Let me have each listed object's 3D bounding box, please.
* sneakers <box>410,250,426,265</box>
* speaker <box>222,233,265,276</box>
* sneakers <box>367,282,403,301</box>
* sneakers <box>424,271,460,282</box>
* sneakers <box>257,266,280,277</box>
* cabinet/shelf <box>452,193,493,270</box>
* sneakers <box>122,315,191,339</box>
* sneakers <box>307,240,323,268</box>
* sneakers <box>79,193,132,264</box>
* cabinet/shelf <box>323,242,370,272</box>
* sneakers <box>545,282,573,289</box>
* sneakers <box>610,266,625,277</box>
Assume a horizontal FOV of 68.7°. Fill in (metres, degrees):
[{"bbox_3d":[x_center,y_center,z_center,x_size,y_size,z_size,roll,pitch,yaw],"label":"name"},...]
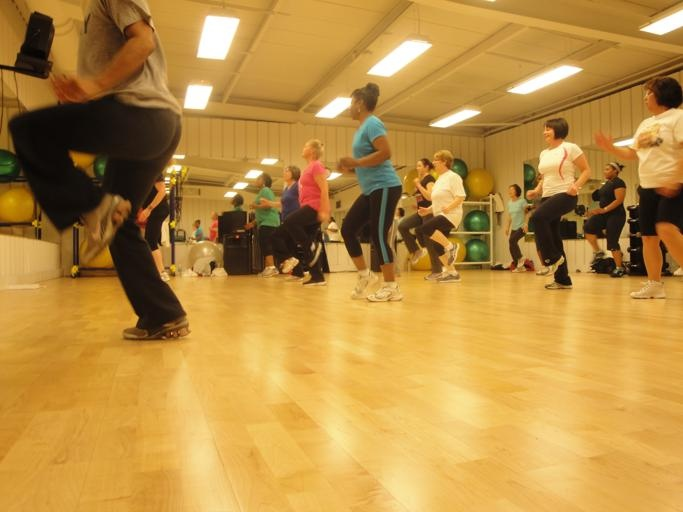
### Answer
[{"bbox_3d":[1.211,0.020,7.928,0.343,0.146,0.112,-40,6,-36],"label":"sneakers"},{"bbox_3d":[-1.883,-0.038,9.443,0.804,0.768,0.433,-1,1,0],"label":"speaker"},{"bbox_3d":[0.338,0.276,3.744,0.317,0.154,0.110,0,-3,-12],"label":"sneakers"},{"bbox_3d":[1.172,0.261,6.062,0.472,0.186,0.158,1,-8,-5],"label":"sneakers"},{"bbox_3d":[-1.114,0.232,7.504,0.334,0.152,0.125,-5,2,38],"label":"sneakers"},{"bbox_3d":[3.355,-0.557,12.298,0.641,1.684,1.797,1,7,18],"label":"cabinet/shelf"},{"bbox_3d":[-0.787,0.300,2.185,0.283,0.135,0.108,2,-4,-9],"label":"sneakers"},{"bbox_3d":[-0.296,-0.029,5.581,0.118,0.303,0.103,2,19,-2],"label":"sneakers"},{"bbox_3d":[-0.827,-0.096,1.724,0.146,0.227,0.159,1,4,45],"label":"sneakers"},{"bbox_3d":[0.033,0.012,8.737,0.655,0.479,0.233,-1,-5,-16],"label":"cabinet/shelf"},{"bbox_3d":[2.008,0.270,4.655,0.196,0.060,0.073,1,-2,19],"label":"sneakers"},{"bbox_3d":[3.868,0.226,6.977,0.379,0.148,0.127,3,-4,-21],"label":"sneakers"}]
